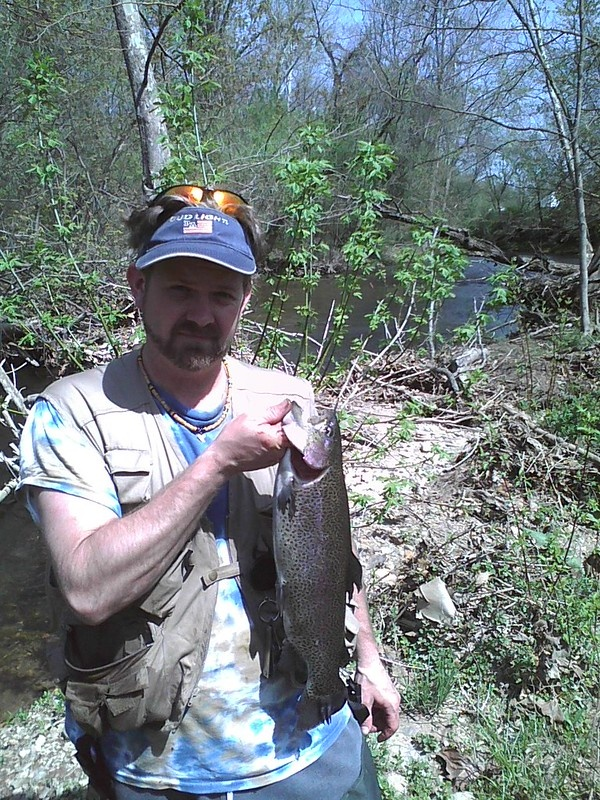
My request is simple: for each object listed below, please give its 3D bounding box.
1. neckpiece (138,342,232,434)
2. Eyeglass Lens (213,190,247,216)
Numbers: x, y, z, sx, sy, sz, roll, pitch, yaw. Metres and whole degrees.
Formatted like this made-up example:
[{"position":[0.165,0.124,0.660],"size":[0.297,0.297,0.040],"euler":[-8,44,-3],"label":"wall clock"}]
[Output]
[{"position":[-0.403,-0.026,2.463],"size":[0.281,0.341,0.082],"euler":[7,-35,-39],"label":"neckpiece"},{"position":[-0.278,-0.794,2.641],"size":[0.038,0.089,0.119],"euler":[-18,-11,35],"label":"Eyeglass Lens"}]
